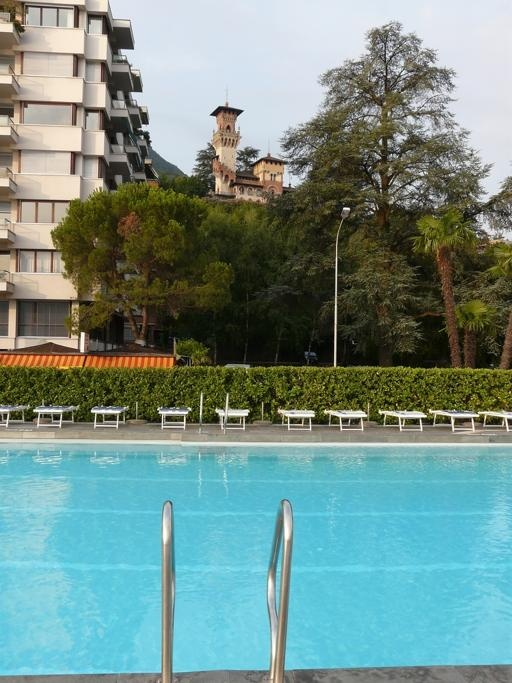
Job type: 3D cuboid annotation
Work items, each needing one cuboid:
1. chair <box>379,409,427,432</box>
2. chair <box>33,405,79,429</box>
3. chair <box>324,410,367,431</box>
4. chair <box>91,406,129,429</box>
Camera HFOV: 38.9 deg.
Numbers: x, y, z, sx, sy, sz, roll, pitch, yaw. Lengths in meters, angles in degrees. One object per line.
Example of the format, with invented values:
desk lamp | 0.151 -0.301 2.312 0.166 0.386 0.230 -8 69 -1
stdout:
chair | 3.921 2.104 19.664 1.091 0.546 3.042 1 1 10
chair | -5.299 1.959 19.220 1.078 0.567 2.502 1 1 -16
chair | 2.353 2.084 19.302 1.139 0.568 2.531 1 1 8
chair | -3.845 1.966 19.047 0.954 0.570 2.911 1 1 -13
